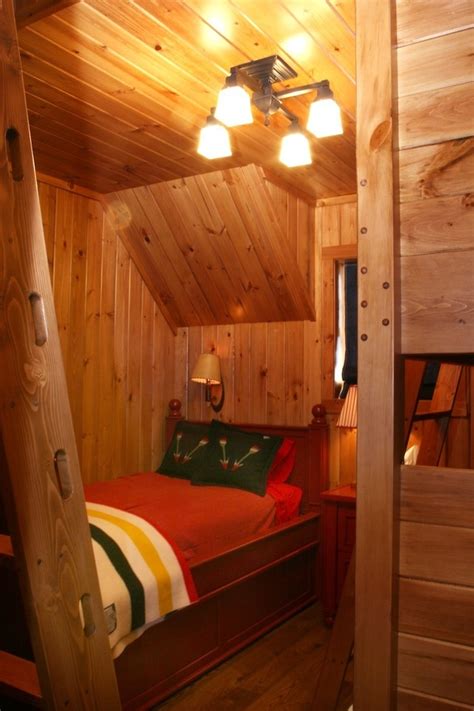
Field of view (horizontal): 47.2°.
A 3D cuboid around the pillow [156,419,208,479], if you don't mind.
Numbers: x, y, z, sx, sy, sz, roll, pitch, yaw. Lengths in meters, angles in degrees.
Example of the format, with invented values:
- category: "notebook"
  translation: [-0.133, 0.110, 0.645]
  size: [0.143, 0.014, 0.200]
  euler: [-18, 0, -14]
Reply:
- category: "pillow"
  translation: [-0.336, 0.616, 3.506]
  size: [0.088, 0.312, 0.318]
  euler: [32, -17, -38]

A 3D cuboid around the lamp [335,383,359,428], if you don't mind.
- category: "lamp"
  translation: [0.606, 0.280, 2.972]
  size: [0.097, 0.233, 0.235]
  euler: [1, -5, 15]

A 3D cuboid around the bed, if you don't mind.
- category: "bed"
  translation: [-0.260, 0.857, 2.578]
  size: [0.795, 0.967, 1.395]
  euler: [1, 2, 37]

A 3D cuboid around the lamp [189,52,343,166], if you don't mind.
- category: "lamp"
  translation: [0.114, -0.939, 2.055]
  size: [0.344, 0.188, 0.355]
  euler: [-1, -4, -17]
